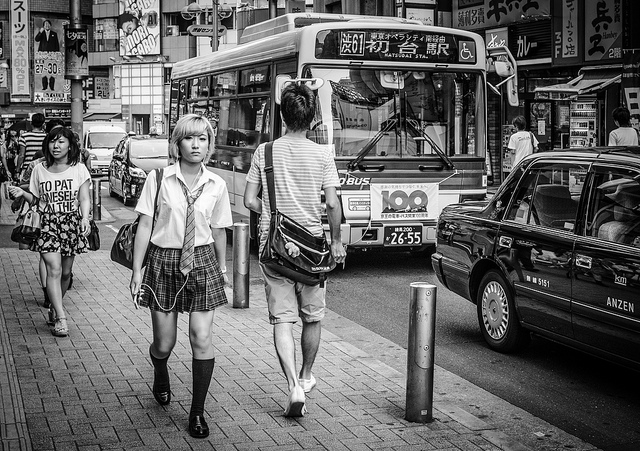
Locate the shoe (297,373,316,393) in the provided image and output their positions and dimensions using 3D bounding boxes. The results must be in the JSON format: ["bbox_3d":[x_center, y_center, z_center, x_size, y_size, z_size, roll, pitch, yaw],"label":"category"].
[{"bbox_3d":[-0.108,1.339,4.933,0.073,0.100,0.215,3,10,13],"label":"shoe"}]

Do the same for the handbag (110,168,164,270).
[{"bbox_3d":[-1.450,0.090,4.475,0.366,0.962,0.392,-6,17,-15],"label":"handbag"}]

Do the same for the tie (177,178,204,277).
[{"bbox_3d":[-0.937,0.011,4.173,0.174,0.651,0.175,-2,10,-9],"label":"tie"}]

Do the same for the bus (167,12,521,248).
[{"bbox_3d":[-0.420,-2.362,14.088,4.151,4.955,10.082,-4,12,-24],"label":"bus"}]

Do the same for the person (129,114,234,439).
[{"bbox_3d":[-1.014,0.366,4.228,0.740,2.302,0.705,-2,10,-10],"label":"person"}]

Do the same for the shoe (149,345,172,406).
[{"bbox_3d":[-1.246,1.210,4.496,0.149,0.578,0.205,-5,-6,-10],"label":"shoe"}]

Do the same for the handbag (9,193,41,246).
[{"bbox_3d":[-3.453,-0.038,6.727,0.378,0.586,0.249,10,14,44],"label":"handbag"}]

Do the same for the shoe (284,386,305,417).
[{"bbox_3d":[-0.194,1.352,4.410,0.122,0.157,0.333,-1,-18,-1],"label":"shoe"}]

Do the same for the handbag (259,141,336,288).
[{"bbox_3d":[-0.205,-0.175,4.632,0.503,1.200,0.619,0,11,-9],"label":"handbag"}]

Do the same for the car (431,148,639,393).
[{"bbox_3d":[2.264,0.229,5.843,1.039,1.168,2.521,0,2,-25],"label":"car"}]

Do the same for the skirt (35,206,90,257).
[{"bbox_3d":[-3.012,0.062,6.840,0.739,0.778,0.449,-2,2,-28],"label":"skirt"}]

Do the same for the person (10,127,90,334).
[{"bbox_3d":[-3.171,0.045,6.902,1.216,2.406,0.847,9,14,43],"label":"person"}]

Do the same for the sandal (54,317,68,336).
[{"bbox_3d":[-2.954,1.129,6.517,0.162,0.193,0.129,-1,11,-2],"label":"sandal"}]

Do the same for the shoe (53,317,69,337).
[{"bbox_3d":[-2.967,1.149,6.592,0.093,0.127,0.273,0,5,-15],"label":"shoe"}]
